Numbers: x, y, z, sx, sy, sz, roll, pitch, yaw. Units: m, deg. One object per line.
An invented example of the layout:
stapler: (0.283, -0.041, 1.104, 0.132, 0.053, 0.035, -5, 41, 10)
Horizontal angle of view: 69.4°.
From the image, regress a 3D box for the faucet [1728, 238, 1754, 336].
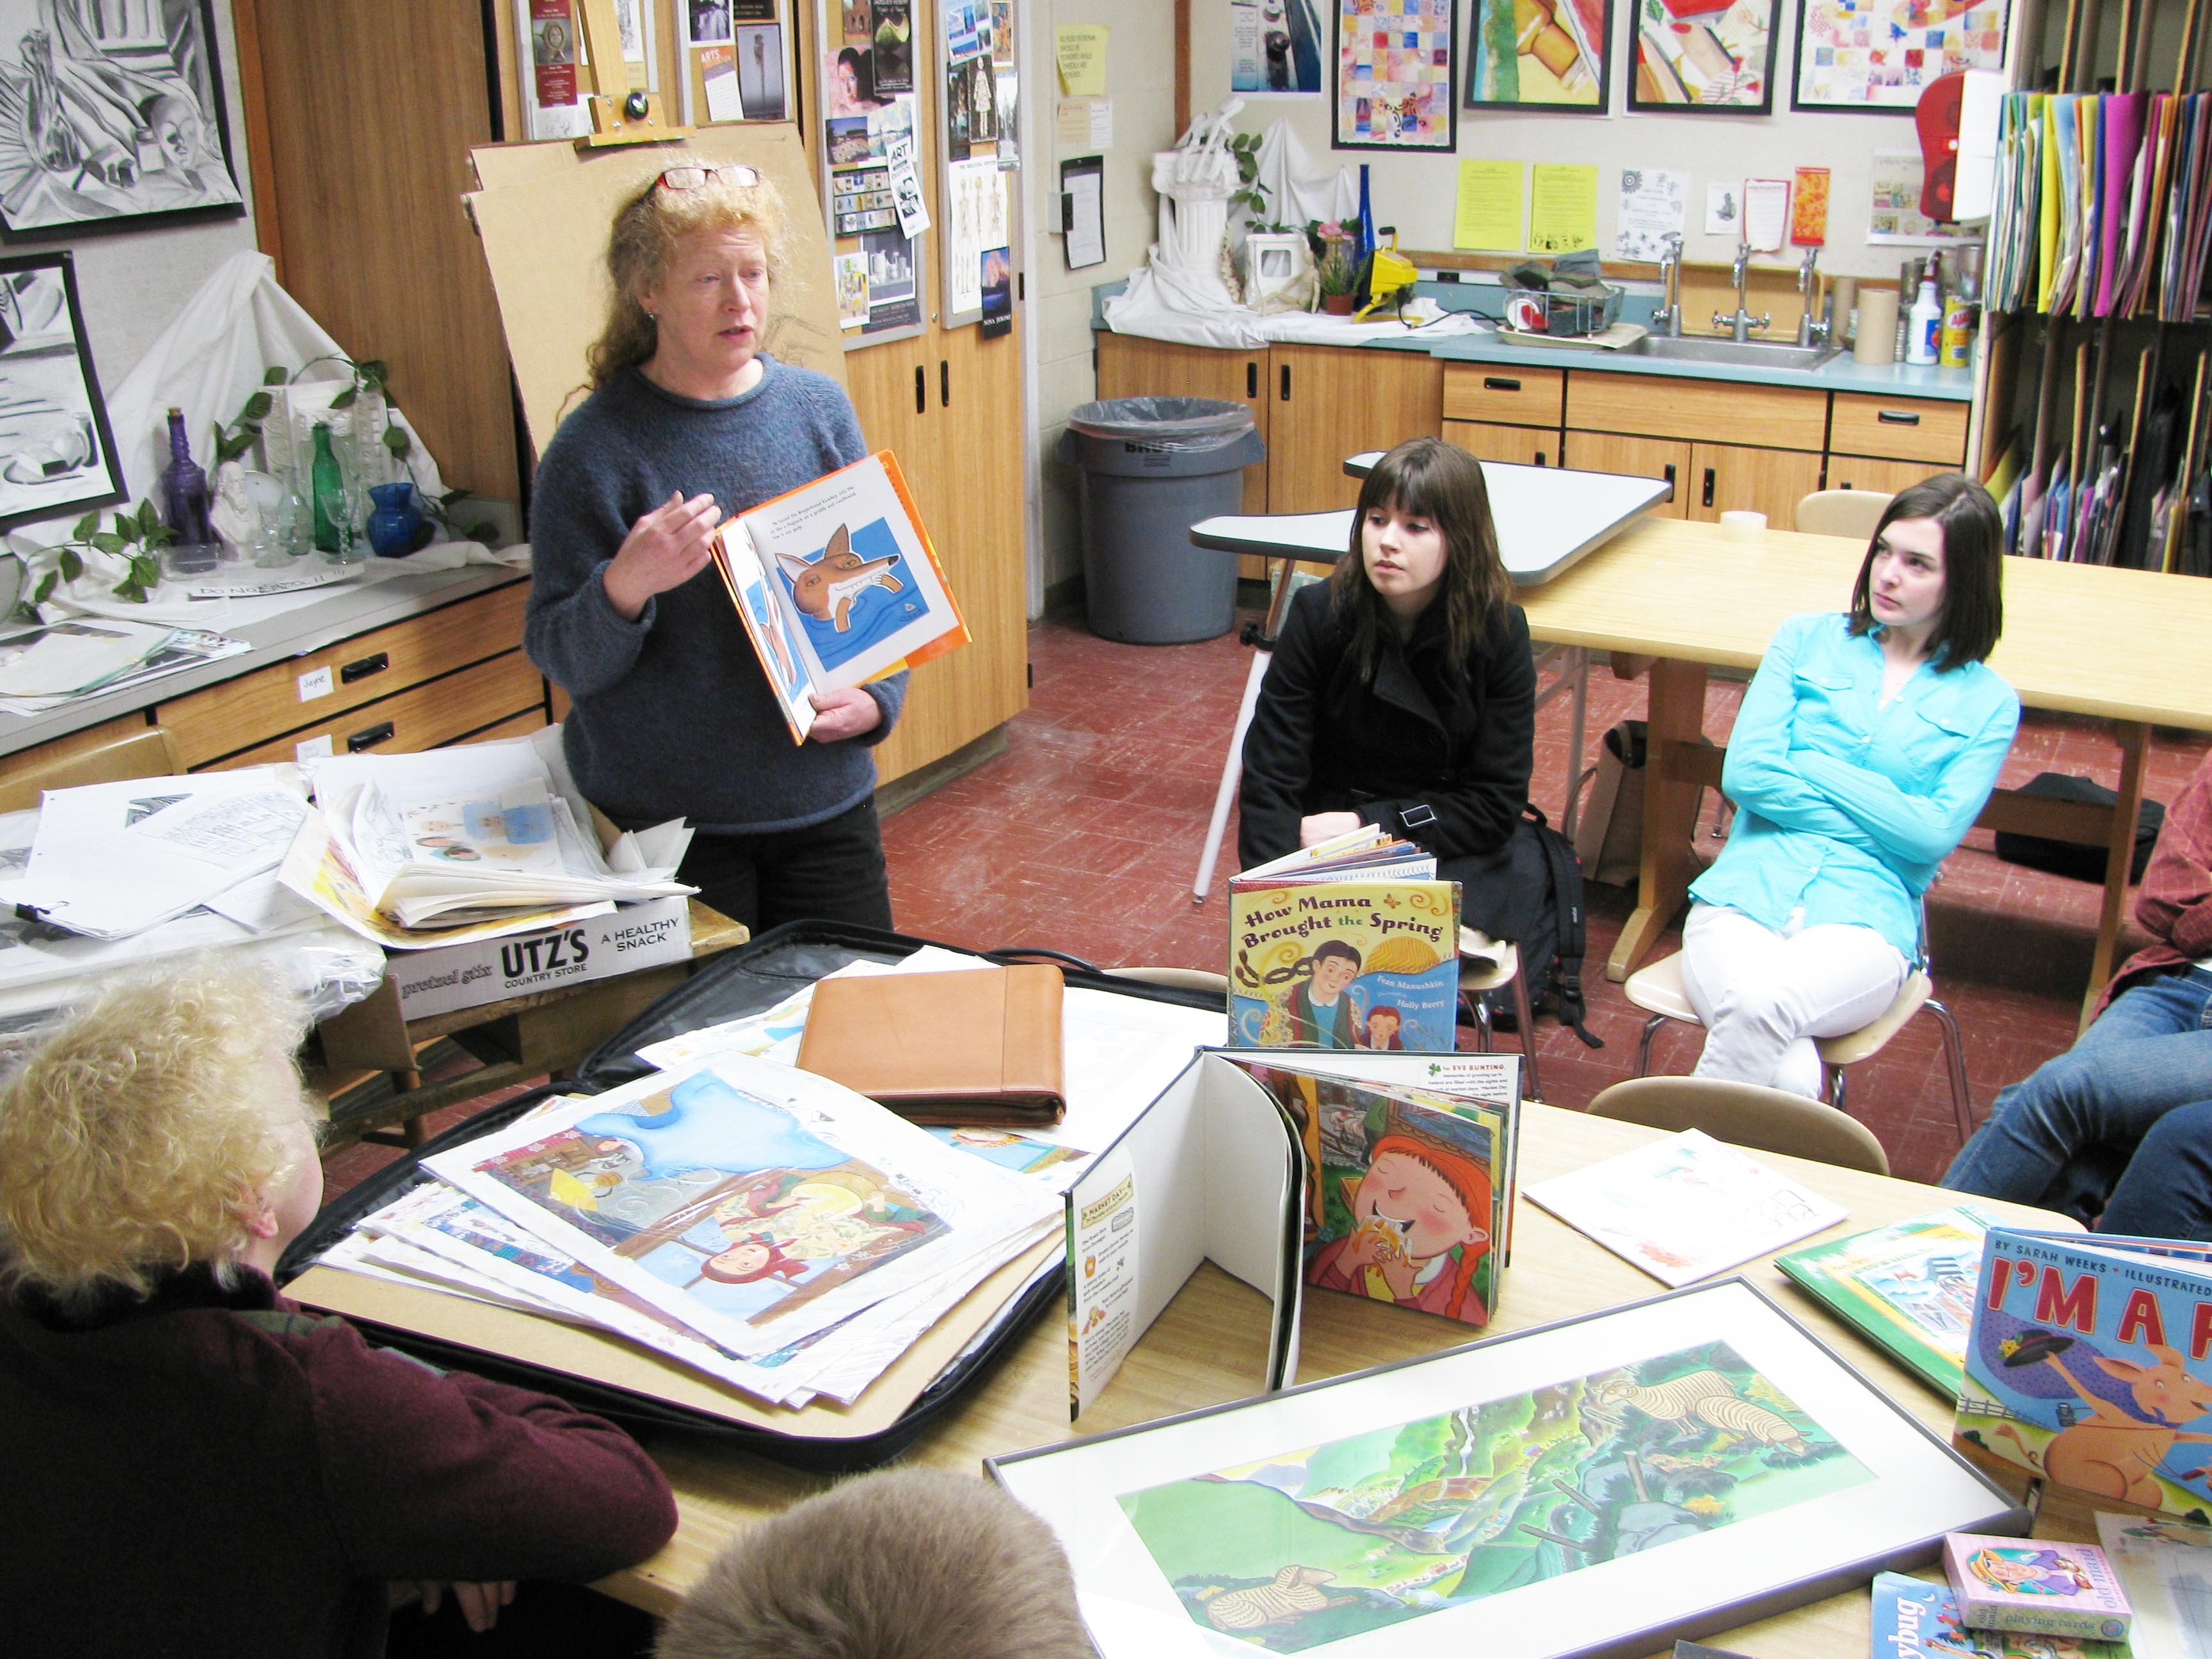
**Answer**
faucet: (2.489, -2.111, 6.242, 0.092, 0.355, 0.168, 6, 25, 20)

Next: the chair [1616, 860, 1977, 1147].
chair: (1.362, 0.350, 3.132, 0.395, 0.647, 0.414, 13, 39, 36)

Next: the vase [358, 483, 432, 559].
vase: (-1.715, -0.745, 3.863, 0.183, 0.167, 0.142, -4, 10, -31)

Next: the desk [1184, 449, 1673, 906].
desk: (0.860, -0.328, 4.731, 1.270, 1.077, 1.512, 9, 36, 13)

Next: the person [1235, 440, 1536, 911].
person: (0.607, -0.313, 3.336, 0.578, 0.853, 0.845, 12, 26, 27)

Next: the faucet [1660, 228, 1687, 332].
faucet: (2.240, -2.152, 6.328, 0.094, 0.367, 0.246, 5, 24, 17)

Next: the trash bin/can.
trash bin/can: (0.224, -1.302, 6.629, 0.934, 0.903, 0.921, 0, 19, 2)

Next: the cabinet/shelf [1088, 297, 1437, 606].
cabinet/shelf: (0.541, -1.367, 5.761, 1.558, 1.012, 0.541, 8, 29, 17)

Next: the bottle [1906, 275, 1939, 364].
bottle: (2.963, -1.833, 5.794, 0.121, 0.285, 0.163, 7, 25, 21)

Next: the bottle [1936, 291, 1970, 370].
bottle: (3.055, -1.785, 5.745, 0.119, 0.237, 0.114, -2, 23, 1)

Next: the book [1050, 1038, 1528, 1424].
book: (0.193, 0.330, 1.542, 0.354, 0.268, 0.374, 4, 18, 11)

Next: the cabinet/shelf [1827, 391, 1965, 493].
cabinet/shelf: (2.800, -1.410, 5.779, 0.521, 0.468, 0.321, 9, 25, 24)

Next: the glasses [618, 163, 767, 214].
glasses: (-0.632, -0.979, 2.444, 0.214, 0.059, 0.186, -7, 23, -12)

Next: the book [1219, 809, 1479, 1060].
book: (0.274, 0.105, 1.783, 0.215, 0.259, 0.228, -5, 12, -32)

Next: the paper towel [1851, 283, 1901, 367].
paper towel: (2.801, -1.846, 5.867, 0.185, 0.255, 0.211, -20, 29, -35)
